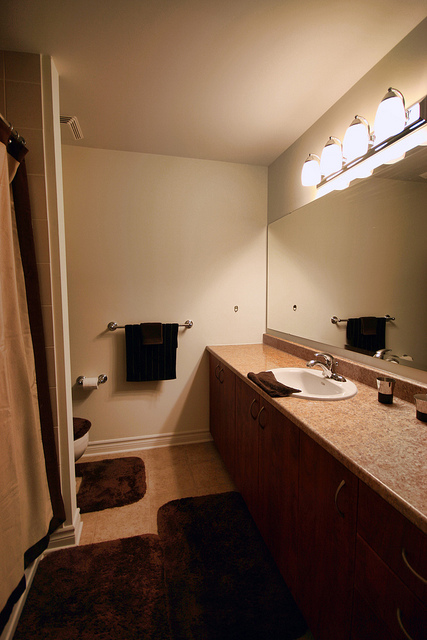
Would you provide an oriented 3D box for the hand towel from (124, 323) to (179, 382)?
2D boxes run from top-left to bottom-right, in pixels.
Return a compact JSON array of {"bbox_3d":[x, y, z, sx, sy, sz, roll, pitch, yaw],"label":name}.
[{"bbox_3d":[-0.392,0.210,2.878,0.347,0.461,0.047,-2,33,-11],"label":"hand towel"}]

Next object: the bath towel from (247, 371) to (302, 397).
[{"bbox_3d":[0.236,0.269,1.901,0.127,0.027,0.316,-5,10,-20],"label":"bath towel"}]

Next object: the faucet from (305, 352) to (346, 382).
[{"bbox_3d":[0.500,0.213,1.978,0.170,0.113,0.191,0,9,8],"label":"faucet"}]

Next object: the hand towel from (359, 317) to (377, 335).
[{"bbox_3d":[0.692,0.028,1.976,0.006,0.089,0.112,-3,9,-16],"label":"hand towel"}]

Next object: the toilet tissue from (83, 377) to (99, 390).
[{"bbox_3d":[-0.751,0.394,2.728,0.077,0.087,0.062,-1,-14,1],"label":"toilet tissue"}]

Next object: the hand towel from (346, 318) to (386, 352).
[{"bbox_3d":[0.690,0.067,1.989,0.033,0.146,0.115,-6,7,-42],"label":"hand towel"}]
